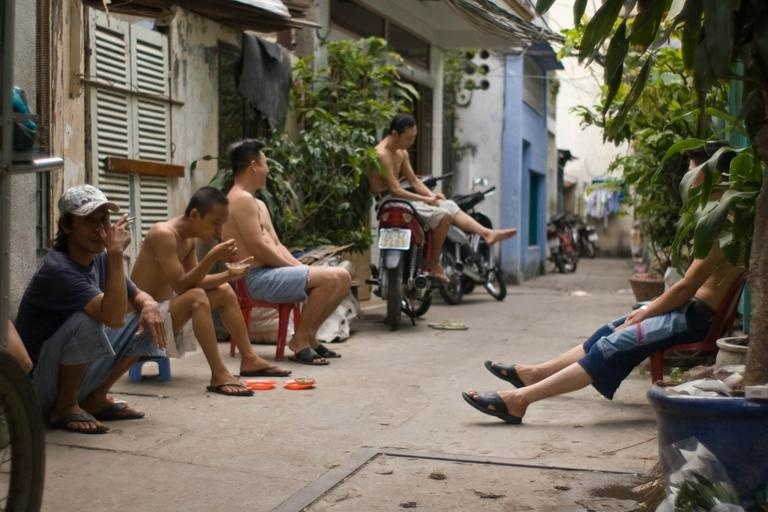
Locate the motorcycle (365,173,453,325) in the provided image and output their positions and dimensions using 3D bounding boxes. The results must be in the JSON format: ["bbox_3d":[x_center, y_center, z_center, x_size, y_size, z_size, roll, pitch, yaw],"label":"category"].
[{"bbox_3d":[0.198,0.058,8.395,0.747,1.398,1.138,1,5,0],"label":"motorcycle"}]

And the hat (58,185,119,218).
[{"bbox_3d":[-1.725,-0.271,4.479,0.264,0.137,0.201,-11,4,23],"label":"hat"}]

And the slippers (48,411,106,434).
[{"bbox_3d":[-1.795,0.984,4.592,0.271,0.077,0.138,1,4,22],"label":"slippers"}]

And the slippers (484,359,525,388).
[{"bbox_3d":[0.868,0.810,5.437,0.349,0.109,0.130,31,-2,-10],"label":"slippers"}]

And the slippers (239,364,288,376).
[{"bbox_3d":[-0.922,0.874,5.970,0.342,0.086,0.129,-1,-1,2],"label":"slippers"}]

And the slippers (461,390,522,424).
[{"bbox_3d":[0.660,0.941,4.942,0.410,0.154,0.162,21,-8,-3],"label":"slippers"}]

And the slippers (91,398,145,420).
[{"bbox_3d":[-1.645,0.950,4.863,0.302,0.093,0.122,-1,3,4],"label":"slippers"}]

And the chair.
[{"bbox_3d":[-0.988,0.520,6.969,0.632,0.898,0.648,-1,-1,14],"label":"chair"}]

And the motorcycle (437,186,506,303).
[{"bbox_3d":[1.165,-0.058,10.443,0.845,1.080,1.700,-19,3,26],"label":"motorcycle"}]

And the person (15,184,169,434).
[{"bbox_3d":[-1.733,0.309,4.648,0.823,1.439,0.552,-2,6,-26],"label":"person"}]
